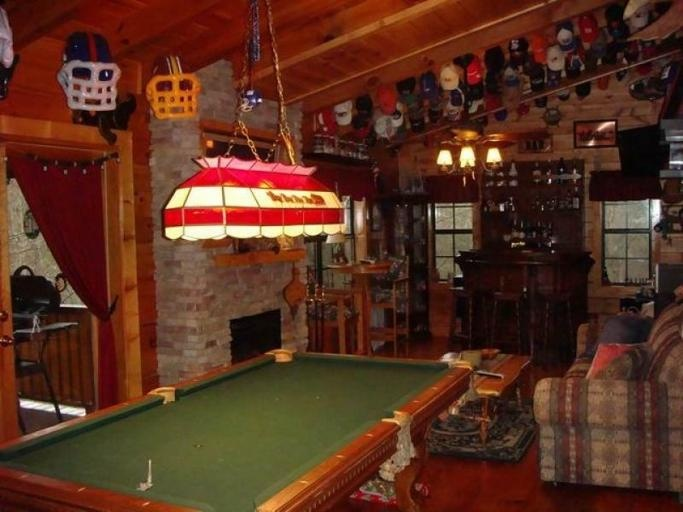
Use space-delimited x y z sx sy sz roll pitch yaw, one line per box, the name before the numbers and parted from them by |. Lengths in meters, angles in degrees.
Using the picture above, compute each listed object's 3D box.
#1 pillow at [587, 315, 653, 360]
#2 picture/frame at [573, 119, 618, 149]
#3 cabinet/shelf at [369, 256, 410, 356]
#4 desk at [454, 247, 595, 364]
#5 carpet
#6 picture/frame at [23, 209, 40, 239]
pillow | 2.857 0.751 6.037 0.383 0.186 0.619 -5 7 28
picture/frame | 4.505 -2.164 10.482 1.003 0.689 0.021 1 2 14
cabinet/shelf | 0.761 0.770 9.275 0.586 1.276 1.509 0 3 13
desk | 2.908 0.679 9.440 1.905 1.623 1.723 -1 -1 22
carpet | 1.404 1.757 5.882 0.687 0.075 1.026 0 4 24
picture/frame | -3.912 -0.394 7.487 0.176 0.399 0.382 -6 9 -27
